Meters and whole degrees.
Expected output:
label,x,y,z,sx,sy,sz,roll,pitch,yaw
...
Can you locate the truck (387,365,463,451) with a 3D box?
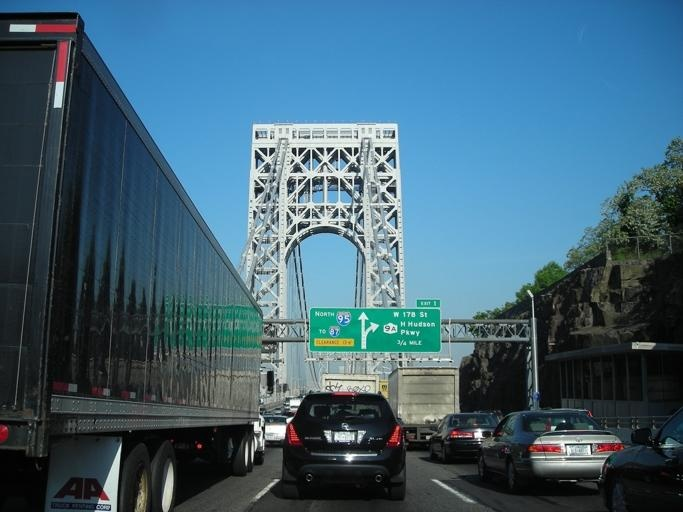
label,x,y,z,sx,sy,sz,roll,pitch,yaw
truck,3.838,7.899,34.864,3.088,4.271,6.460,2,-5,-2
